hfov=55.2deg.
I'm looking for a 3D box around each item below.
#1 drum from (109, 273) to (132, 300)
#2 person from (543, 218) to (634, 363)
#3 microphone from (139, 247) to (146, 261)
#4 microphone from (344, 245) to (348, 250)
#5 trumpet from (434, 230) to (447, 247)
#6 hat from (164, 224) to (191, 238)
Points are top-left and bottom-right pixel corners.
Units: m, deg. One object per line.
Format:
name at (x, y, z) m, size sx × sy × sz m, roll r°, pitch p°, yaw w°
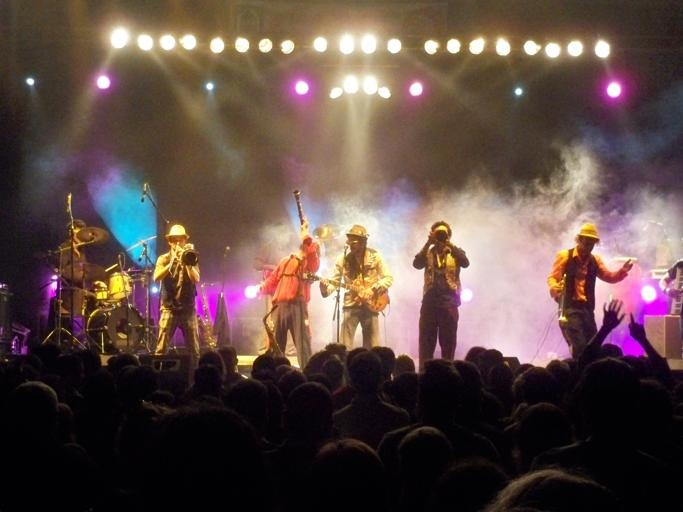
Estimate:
drum at (-4.266, 0.619, 12.484) m, size 0.458 × 0.475 × 0.487 m, roll -11°, pitch -15°, yaw 17°
person at (3.414, 0.808, 9.261) m, size 1.161 × 2.354 × 0.964 m, roll 2°, pitch 1°, yaw -29°
microphone at (-4.267, -0.063, 13.945) m, size 0.137 × 0.094 × 0.363 m, roll -4°, pitch -39°, yaw -30°
microphone at (0.079, -0.136, 10.340) m, size 0.029 × 0.066 × 0.050 m, roll 7°, pitch -1°, yaw -44°
trumpet at (1.440, -0.265, 9.493) m, size 0.190 × 0.227 × 0.198 m, roll -1°, pitch -4°, yaw -5°
hat at (-3.278, -0.504, 12.903) m, size 0.424 × 0.239 × 0.482 m, roll 1°, pitch -17°, yaw -7°
